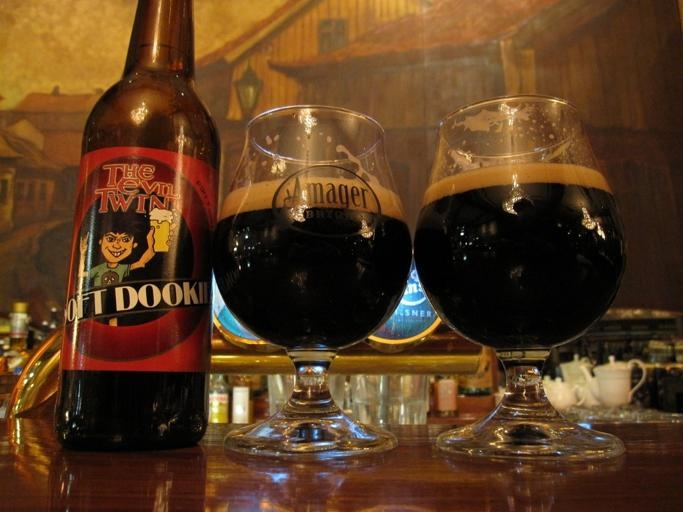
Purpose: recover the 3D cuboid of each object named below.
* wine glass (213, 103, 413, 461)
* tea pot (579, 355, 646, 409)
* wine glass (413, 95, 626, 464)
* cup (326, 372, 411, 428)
[{"bbox_3d":[-0.029,0.018,0.925,0.271,0.433,0.262,-1,6,-10],"label":"wine glass"},{"bbox_3d":[1.180,0.518,3.080,0.222,0.220,0.338,5,-6,-44],"label":"tea pot"},{"bbox_3d":[0.220,0.012,0.920,0.277,0.447,0.268,2,6,19],"label":"wine glass"},{"bbox_3d":[0.051,0.270,1.398,0.133,0.133,0.125,0,-11,0],"label":"cup"}]
